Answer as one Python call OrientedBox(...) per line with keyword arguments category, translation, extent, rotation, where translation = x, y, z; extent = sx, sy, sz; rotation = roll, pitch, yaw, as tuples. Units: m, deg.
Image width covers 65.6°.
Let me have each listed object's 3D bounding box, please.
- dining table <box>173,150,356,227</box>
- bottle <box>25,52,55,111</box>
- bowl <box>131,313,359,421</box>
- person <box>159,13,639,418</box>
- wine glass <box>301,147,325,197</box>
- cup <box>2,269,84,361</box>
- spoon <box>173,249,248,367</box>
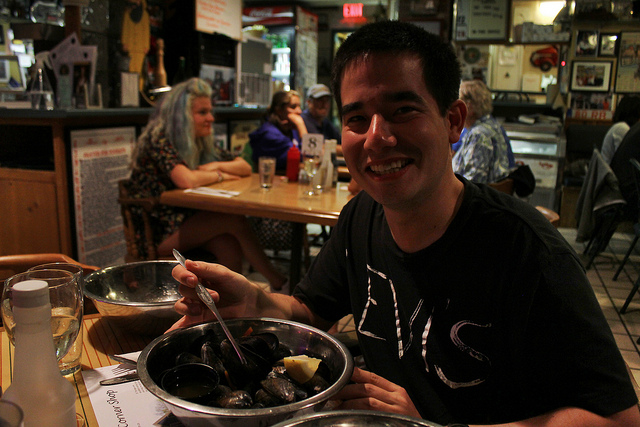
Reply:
OrientedBox(category="dining table", translation=(-0.251, -0.164, 3.535), extent=(0.663, 0.241, 0.993), rotation=(10, 16, 37))
OrientedBox(category="bottle", translation=(-2.106, -1.003, 3.703), extent=(0.201, 0.418, 0.655), rotation=(-6, 16, -28))
OrientedBox(category="bowl", translation=(-0.194, 0.418, 1.358), extent=(0.540, 0.128, 0.413), rotation=(6, 14, 19))
OrientedBox(category="person", translation=(0.295, 0.005, 1.579), extent=(1.289, 1.190, 0.538), rotation=(4, 14, 10))
OrientedBox(category="wine glass", translation=(-0.076, -0.333, 3.797), extent=(0.202, 0.378, 0.203), rotation=(-1, 1, 8))
OrientedBox(category="cup", translation=(-0.817, 0.268, 1.550), extent=(0.226, 0.272, 0.249), rotation=(7, 9, 28))
OrientedBox(category="spoon", translation=(-0.364, 0.307, 1.604), extent=(0.051, 0.052, 0.452), rotation=(24, 20, -46))
